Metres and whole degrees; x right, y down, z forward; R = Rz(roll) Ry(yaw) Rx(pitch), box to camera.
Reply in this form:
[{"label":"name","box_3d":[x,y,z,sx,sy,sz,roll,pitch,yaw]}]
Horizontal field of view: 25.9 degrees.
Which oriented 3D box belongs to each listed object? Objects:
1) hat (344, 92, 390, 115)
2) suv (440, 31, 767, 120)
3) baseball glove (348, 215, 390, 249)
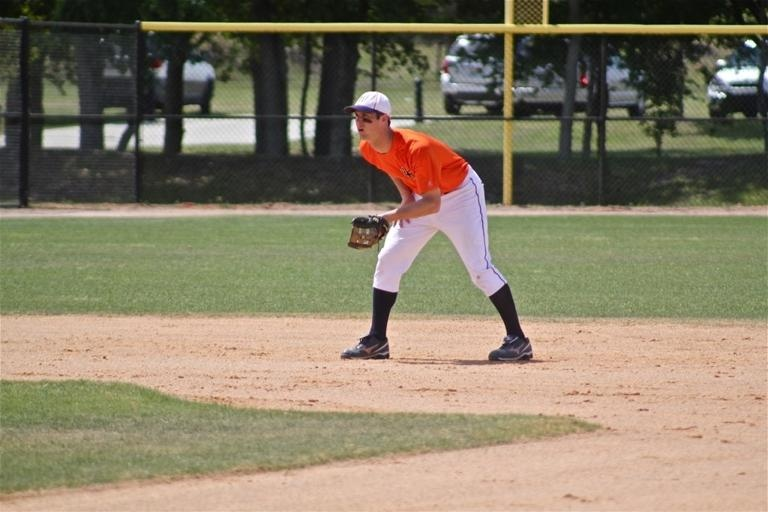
[{"label":"hat","box_3d":[-0.213,-1.906,21.035,0.476,0.233,0.320,3,4,-11]},{"label":"suv","box_3d":[3.013,-3.349,31.218,3.965,1.457,0.846,2,15,4]},{"label":"baseball glove","box_3d":[-0.300,-0.323,21.309,0.688,0.273,0.481,-8,-20,1]}]
